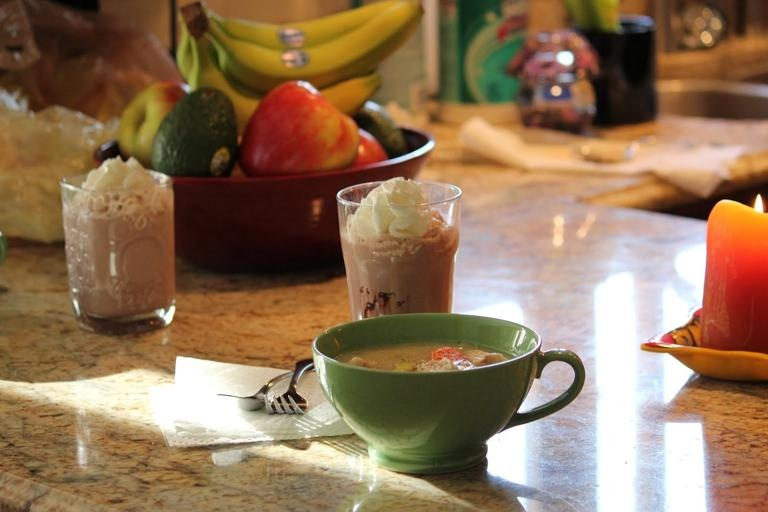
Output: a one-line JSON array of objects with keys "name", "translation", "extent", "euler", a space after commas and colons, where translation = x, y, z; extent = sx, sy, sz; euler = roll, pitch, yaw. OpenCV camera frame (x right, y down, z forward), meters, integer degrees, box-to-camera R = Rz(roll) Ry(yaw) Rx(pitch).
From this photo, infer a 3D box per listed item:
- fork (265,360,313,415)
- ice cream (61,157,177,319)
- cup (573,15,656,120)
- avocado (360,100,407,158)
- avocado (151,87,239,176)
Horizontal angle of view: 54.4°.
[{"name": "fork", "translation": [-0.108, 0.145, 0.865], "extent": [0.048, 0.036, 0.097], "euler": [-1, 16, 3]}, {"name": "ice cream", "translation": [-0.348, -0.022, 1.041], "extent": [0.138, 0.222, 0.134], "euler": [-9, 9, -44]}, {"name": "cup", "translation": [0.515, -0.392, 1.621], "extent": [0.177, 0.243, 0.283], "euler": [3, 18, 14]}, {"name": "avocado", "translation": [-0.004, -0.233, 1.324], "extent": [0.040, 0.060, 0.115], "euler": [-33, 65, -18]}, {"name": "avocado", "translation": [-0.284, -0.176, 1.090], "extent": [0.129, 0.130, 0.065], "euler": [-5, 18, -10]}]
